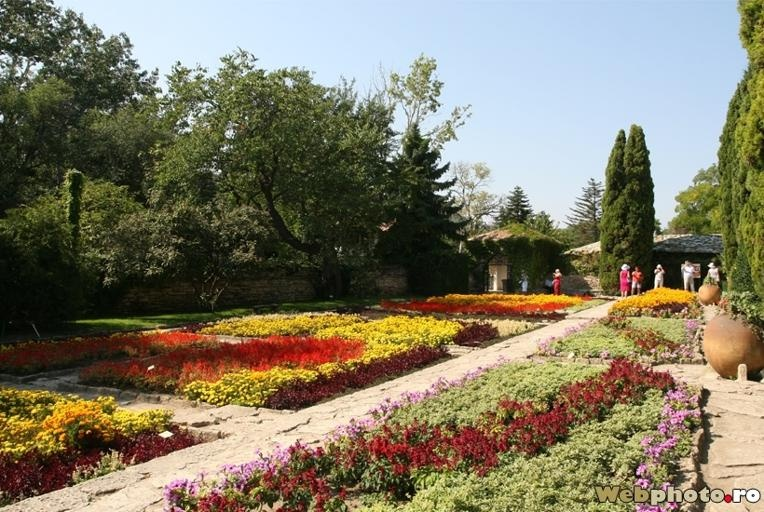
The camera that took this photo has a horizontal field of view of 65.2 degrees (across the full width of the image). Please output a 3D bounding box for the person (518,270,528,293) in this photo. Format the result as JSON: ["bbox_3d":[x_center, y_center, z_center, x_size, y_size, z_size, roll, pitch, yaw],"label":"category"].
[{"bbox_3d":[8.425,1.482,35.489,0.562,1.249,1.397,0,7,14],"label":"person"}]

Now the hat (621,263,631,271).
[{"bbox_3d":[12.844,0.536,31.499,0.373,0.272,0.503,4,1,24],"label":"hat"}]

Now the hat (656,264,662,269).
[{"bbox_3d":[14.779,0.514,31.926,0.103,0.207,0.152,12,10,-22],"label":"hat"}]
